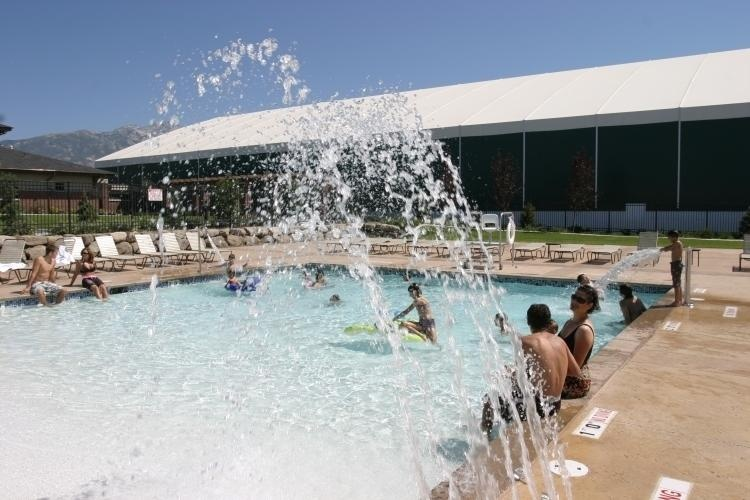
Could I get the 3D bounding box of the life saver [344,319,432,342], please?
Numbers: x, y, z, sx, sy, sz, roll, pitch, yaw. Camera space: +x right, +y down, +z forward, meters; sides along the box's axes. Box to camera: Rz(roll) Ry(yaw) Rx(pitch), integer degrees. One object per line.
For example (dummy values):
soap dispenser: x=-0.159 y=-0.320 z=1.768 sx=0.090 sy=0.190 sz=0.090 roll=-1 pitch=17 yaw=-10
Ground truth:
life saver: x=0.159 y=1.826 z=11.743 sx=1.138 sy=0.228 sz=0.684 roll=2 pitch=0 yaw=21

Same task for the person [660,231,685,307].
person: x=7.125 y=0.338 z=12.766 sx=0.451 sy=1.649 sz=2.416 roll=3 pitch=10 yaw=29

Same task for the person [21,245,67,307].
person: x=-8.475 y=0.691 z=13.797 sx=0.904 sy=1.592 sz=0.832 roll=9 pitch=-1 yaw=-13

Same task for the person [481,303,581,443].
person: x=2.265 y=1.660 z=7.303 sx=1.406 sy=1.915 sz=0.699 roll=-4 pitch=9 yaw=-15

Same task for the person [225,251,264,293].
person: x=-4.160 y=0.773 z=16.664 sx=0.770 sy=0.972 sz=1.649 roll=3 pitch=8 yaw=18

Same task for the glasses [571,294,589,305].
glasses: x=2.899 y=0.705 z=7.630 sx=0.102 sy=0.124 sz=0.229 roll=-10 pitch=12 yaw=-43

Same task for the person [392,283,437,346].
person: x=0.962 y=1.306 z=11.750 sx=0.758 sy=1.344 sz=1.432 roll=0 pitch=9 yaw=12

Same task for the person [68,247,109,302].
person: x=-7.616 y=0.753 z=14.386 sx=1.453 sy=1.408 sz=0.919 roll=18 pitch=18 yaw=34
